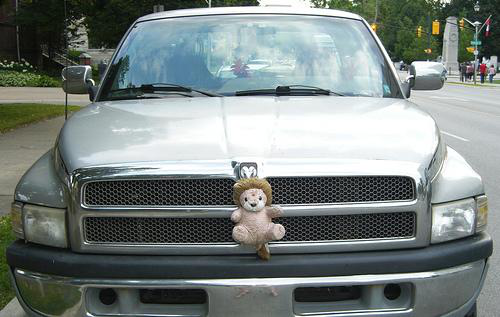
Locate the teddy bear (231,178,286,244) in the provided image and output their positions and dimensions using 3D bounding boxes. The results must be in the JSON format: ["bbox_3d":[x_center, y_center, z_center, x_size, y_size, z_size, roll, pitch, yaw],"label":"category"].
[{"bbox_3d":[0.036,0.323,2.822,0.307,0.398,0.252,-1,9,-6],"label":"teddy bear"}]
